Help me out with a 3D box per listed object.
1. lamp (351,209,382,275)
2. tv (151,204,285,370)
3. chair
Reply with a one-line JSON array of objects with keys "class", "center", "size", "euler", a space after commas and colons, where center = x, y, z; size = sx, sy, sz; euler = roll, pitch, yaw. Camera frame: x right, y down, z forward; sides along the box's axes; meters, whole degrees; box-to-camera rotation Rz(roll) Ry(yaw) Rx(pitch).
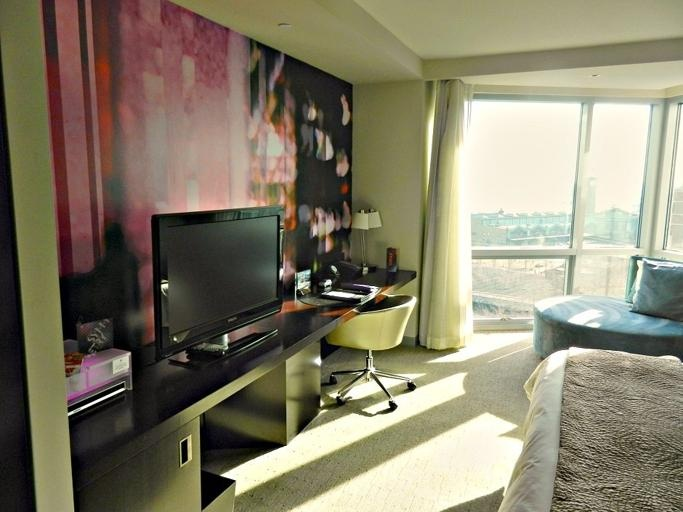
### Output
[{"class": "lamp", "center": [0.228, -0.164, 4.963], "size": [0.284, 0.558, 0.456], "euler": [0, 14, 0]}, {"class": "tv", "center": [-0.690, 0.172, 2.862], "size": [0.236, 0.726, 0.948], "euler": [1, 6, 24]}, {"class": "chair", "center": [0.239, 0.669, 4.073], "size": [0.616, 0.770, 0.710], "euler": [6, 7, 23]}]
